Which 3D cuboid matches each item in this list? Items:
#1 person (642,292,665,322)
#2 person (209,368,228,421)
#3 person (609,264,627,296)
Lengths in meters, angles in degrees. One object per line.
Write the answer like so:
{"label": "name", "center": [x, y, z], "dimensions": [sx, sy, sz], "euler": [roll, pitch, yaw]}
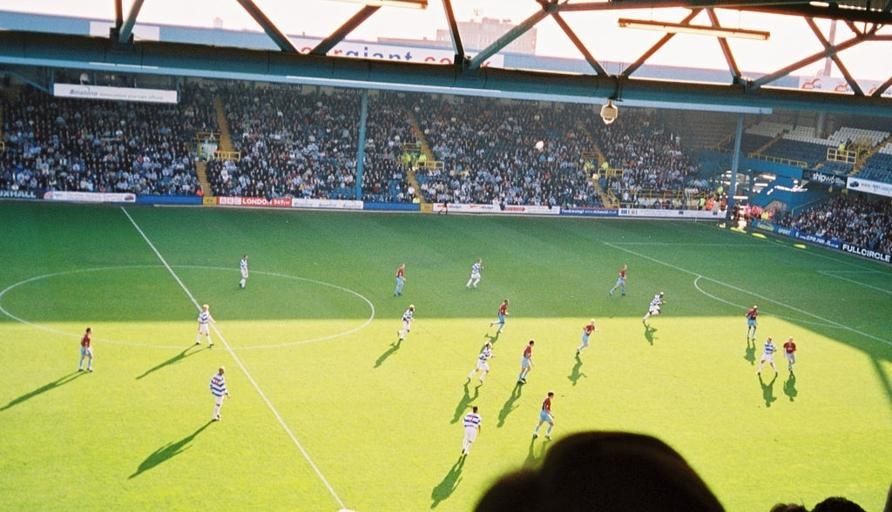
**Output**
{"label": "person", "center": [14.517, 3.604, 53.891], "dimensions": [1.583, 2.141, 0.754], "euler": [12, 29, 2]}
{"label": "person", "center": [-11.872, 6.978, 40.534], "dimensions": [0.865, 2.844, 1.367], "euler": [4, 19, -14]}
{"label": "person", "center": [13.184, 1.897, 59.102], "dimensions": [0.975, 0.746, 2.140], "euler": [-6, 11, 22]}
